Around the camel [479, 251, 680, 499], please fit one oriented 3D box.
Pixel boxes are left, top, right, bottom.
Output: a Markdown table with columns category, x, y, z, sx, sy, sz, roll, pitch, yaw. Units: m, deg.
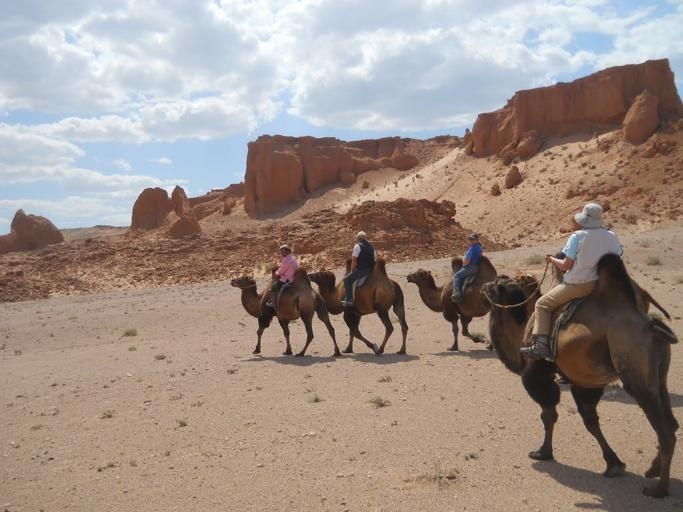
| category | x | y | z | sx | sy | sz | roll | pitch | yaw |
| --- | --- | --- | --- | --- | --- | --- | --- | --- | --- |
| camel | 3.146 | 1.318 | 8.025 | 1.463 | 2.780 | 2.535 | -7 | 13 | -27 |

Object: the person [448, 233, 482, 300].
| category | x | y | z | sx | sy | sz | roll | pitch | yaw |
| --- | --- | --- | --- | --- | --- | --- | --- | --- | --- |
| person | 2.593 | 0.267 | 12.851 | 0.703 | 1.451 | 0.661 | -4 | 12 | -10 |

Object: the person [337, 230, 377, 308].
| category | x | y | z | sx | sy | sz | roll | pitch | yaw |
| --- | --- | --- | --- | --- | --- | --- | --- | --- | --- |
| person | 0.291 | 0.278 | 13.250 | 0.667 | 1.606 | 0.686 | -8 | 12 | -41 |

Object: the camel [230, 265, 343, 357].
| category | x | y | z | sx | sy | sz | roll | pitch | yaw |
| --- | --- | --- | --- | --- | --- | --- | --- | --- | --- |
| camel | -1.310 | 1.257 | 13.530 | 2.606 | 1.792 | 0.724 | -3 | -3 | 28 |

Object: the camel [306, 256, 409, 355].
| category | x | y | z | sx | sy | sz | roll | pitch | yaw |
| --- | --- | --- | --- | --- | --- | --- | --- | --- | --- |
| camel | 0.319 | 1.122 | 13.481 | 2.592 | 2.162 | 0.820 | -4 | -7 | 36 |

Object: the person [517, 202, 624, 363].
| category | x | y | z | sx | sy | sz | roll | pitch | yaw |
| --- | --- | --- | --- | --- | --- | --- | --- | --- | --- |
| person | 3.005 | 0.317 | 8.078 | 1.011 | 2.021 | 0.648 | 3 | 9 | -17 |

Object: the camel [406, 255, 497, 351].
| category | x | y | z | sx | sy | sz | roll | pitch | yaw |
| --- | --- | --- | --- | --- | --- | --- | --- | --- | --- |
| camel | 3.028 | 0.949 | 13.605 | 3.132 | 2.475 | 1.080 | 0 | 2 | 44 |
